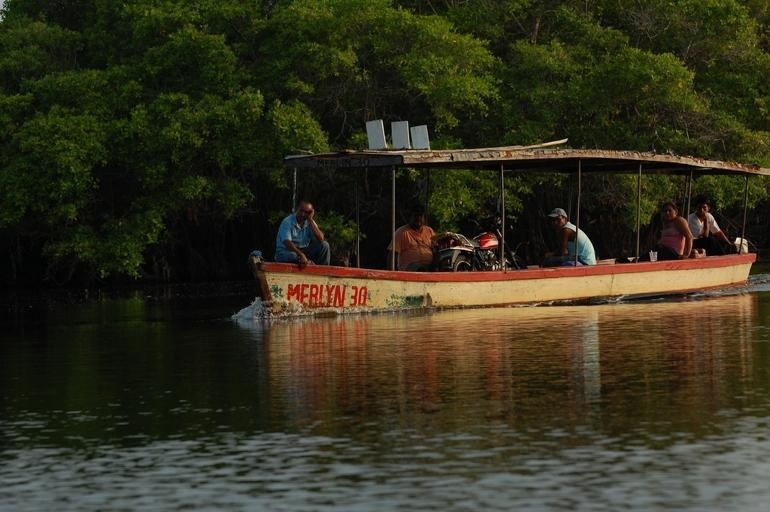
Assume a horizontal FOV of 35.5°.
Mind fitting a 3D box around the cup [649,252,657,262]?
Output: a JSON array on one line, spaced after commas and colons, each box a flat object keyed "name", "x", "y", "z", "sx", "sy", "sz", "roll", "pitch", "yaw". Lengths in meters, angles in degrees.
[{"name": "cup", "x": 5.986, "y": -0.003, "z": 26.478, "sx": 0.203, "sy": 0.290, "sz": 0.233, "roll": -1, "pitch": -2, "yaw": 26}]

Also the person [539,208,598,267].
[{"name": "person", "x": 4.046, "y": -0.139, "z": 26.149, "sx": 1.235, "sy": 1.702, "sz": 0.945, "roll": 3, "pitch": 2, "yaw": 16}]

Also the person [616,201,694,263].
[{"name": "person", "x": 6.485, "y": -0.559, "z": 26.926, "sx": 2.034, "sy": 1.139, "sz": 1.189, "roll": -7, "pitch": 6, "yaw": -16}]

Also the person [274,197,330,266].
[{"name": "person", "x": -1.557, "y": -0.410, "z": 23.920, "sx": 1.124, "sy": 1.379, "sz": 1.059, "roll": 5, "pitch": 4, "yaw": -4}]
